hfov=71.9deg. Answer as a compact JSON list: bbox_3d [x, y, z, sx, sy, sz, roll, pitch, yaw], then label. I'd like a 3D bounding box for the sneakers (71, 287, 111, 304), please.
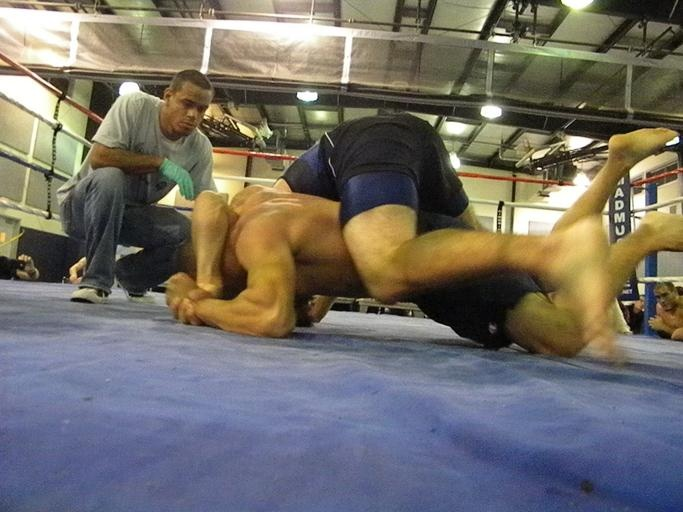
[{"bbox_3d":[-1.059,0.162,1.996,0.068,0.057,0.153,6,1,12],"label":"sneakers"}]

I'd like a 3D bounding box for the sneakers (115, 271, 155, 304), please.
[{"bbox_3d":[-1.143,0.169,2.621,0.174,0.163,0.446,6,-11,-24],"label":"sneakers"}]

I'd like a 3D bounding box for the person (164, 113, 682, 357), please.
[{"bbox_3d":[0.141,-0.049,1.524,1.486,0.546,0.874,-4,-12,26],"label":"person"}]
